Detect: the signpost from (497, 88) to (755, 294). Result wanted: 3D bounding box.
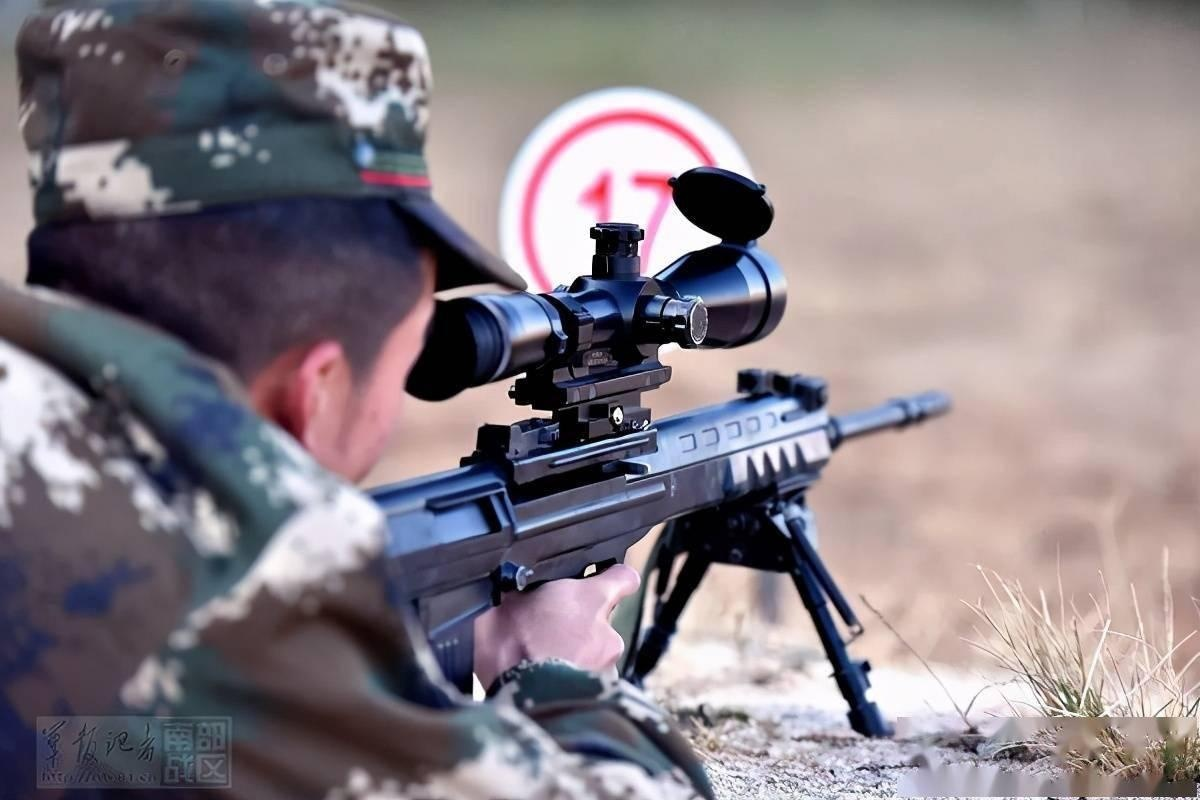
[{"bbox_3d":[0.044,-0.433,3.328,0.519,0.530,0.110,7,15,-9],"label":"signpost"}]

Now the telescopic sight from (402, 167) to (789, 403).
[{"bbox_3d":[0.041,-0.214,2.657,0.309,0.356,0.783,5,11,38],"label":"telescopic sight"}]
